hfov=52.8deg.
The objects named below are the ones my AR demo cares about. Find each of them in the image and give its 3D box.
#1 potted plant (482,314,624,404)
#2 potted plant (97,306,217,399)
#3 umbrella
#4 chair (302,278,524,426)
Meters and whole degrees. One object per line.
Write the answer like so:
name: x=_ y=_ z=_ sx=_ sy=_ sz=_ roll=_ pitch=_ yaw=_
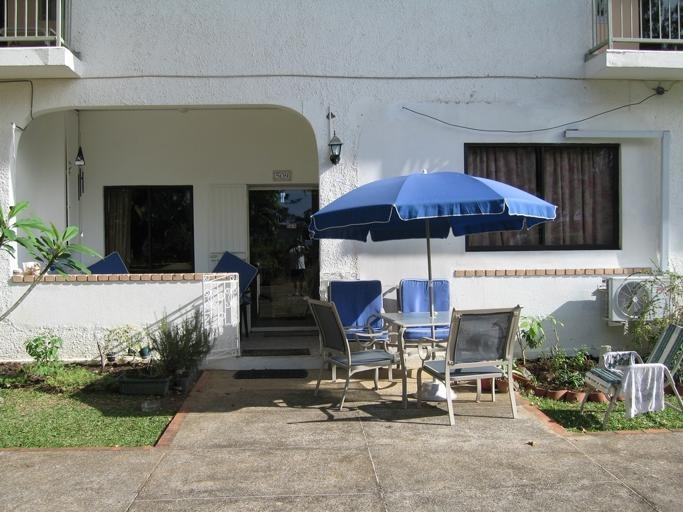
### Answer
potted plant: x=2.896 y=1.486 z=9.302 sx=1.165 sy=1.233 sz=0.938 roll=-7 pitch=-31 yaw=39
potted plant: x=-2.430 y=1.368 z=9.168 sx=0.972 sy=1.008 sz=1.254 roll=-2 pitch=-4 yaw=6
umbrella: x=1.171 y=0.325 z=9.200 sx=2.225 sy=1.690 sz=2.391 roll=-2 pitch=-5 yaw=-1
chair: x=0.852 y=1.077 z=8.241 sx=2.075 sy=1.469 sz=1.328 roll=-2 pitch=2 yaw=-13
